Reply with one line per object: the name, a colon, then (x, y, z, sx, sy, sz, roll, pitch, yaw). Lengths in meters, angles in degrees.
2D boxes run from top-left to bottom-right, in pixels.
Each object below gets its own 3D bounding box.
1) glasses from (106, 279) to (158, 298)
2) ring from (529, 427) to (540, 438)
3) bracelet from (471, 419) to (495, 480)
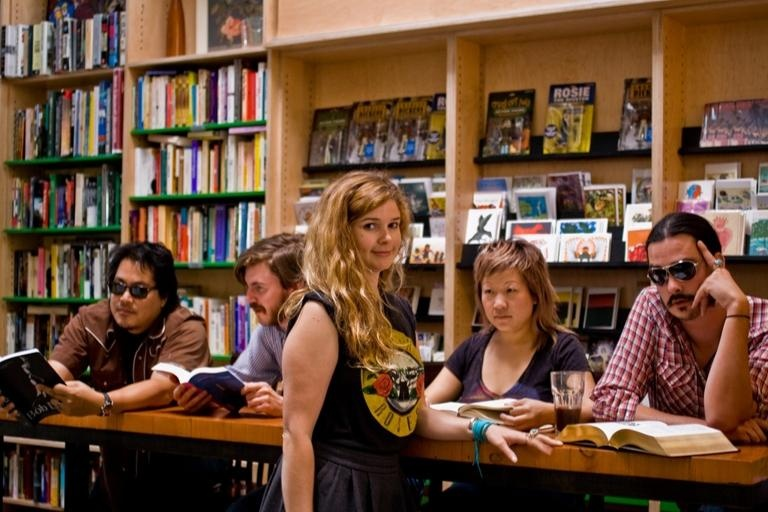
glasses: (-1.212, 0.157, 3.350, 0.237, 0.088, 0.084, 0, 1, 21)
ring: (0.510, 0.597, 2.400, 0.023, 0.039, 0.106, 4, -3, 14)
bracelet: (0.316, 0.649, 2.382, 0.067, 0.162, 0.125, 9, -4, 0)
